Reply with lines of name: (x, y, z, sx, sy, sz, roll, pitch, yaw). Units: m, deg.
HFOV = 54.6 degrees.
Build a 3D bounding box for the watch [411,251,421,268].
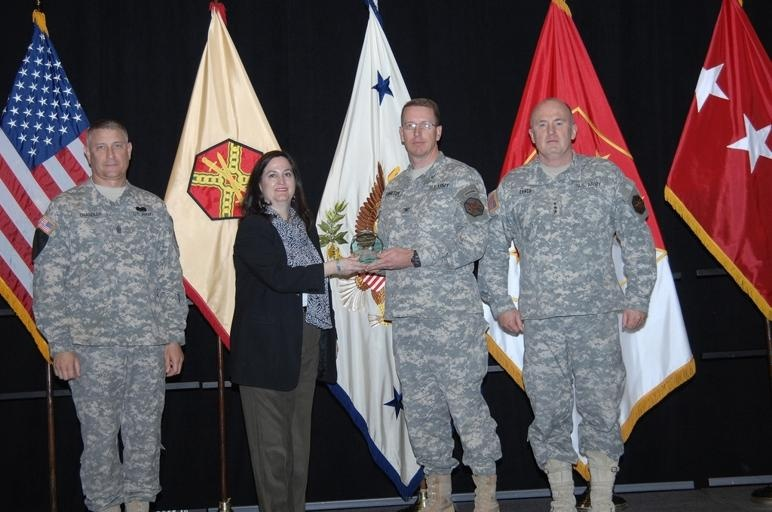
watch: (0.186, 0.026, 4.584, 0.061, 0.087, 0.080, 2, 7, -4)
